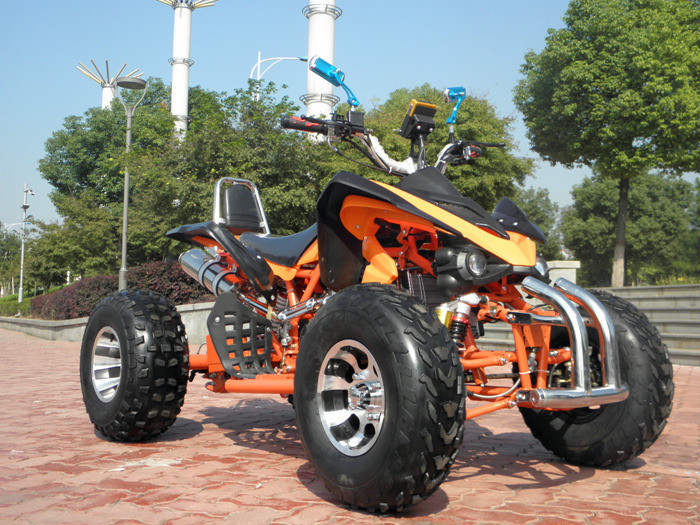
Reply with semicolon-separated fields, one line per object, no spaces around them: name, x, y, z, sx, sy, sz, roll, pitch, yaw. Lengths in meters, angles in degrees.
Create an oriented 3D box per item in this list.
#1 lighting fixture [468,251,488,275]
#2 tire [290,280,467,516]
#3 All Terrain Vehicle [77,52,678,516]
lighting fixture;0.866;0.000;4.186;0.174;0.145;0.151;-1;-1;-22
tire;0.206;0.926;4.063;1.502;1.375;0.520;-12;-10;42
All Terrain Vehicle;-0.020;0.353;5.826;3.111;2.542;4.764;4;-5;-42
